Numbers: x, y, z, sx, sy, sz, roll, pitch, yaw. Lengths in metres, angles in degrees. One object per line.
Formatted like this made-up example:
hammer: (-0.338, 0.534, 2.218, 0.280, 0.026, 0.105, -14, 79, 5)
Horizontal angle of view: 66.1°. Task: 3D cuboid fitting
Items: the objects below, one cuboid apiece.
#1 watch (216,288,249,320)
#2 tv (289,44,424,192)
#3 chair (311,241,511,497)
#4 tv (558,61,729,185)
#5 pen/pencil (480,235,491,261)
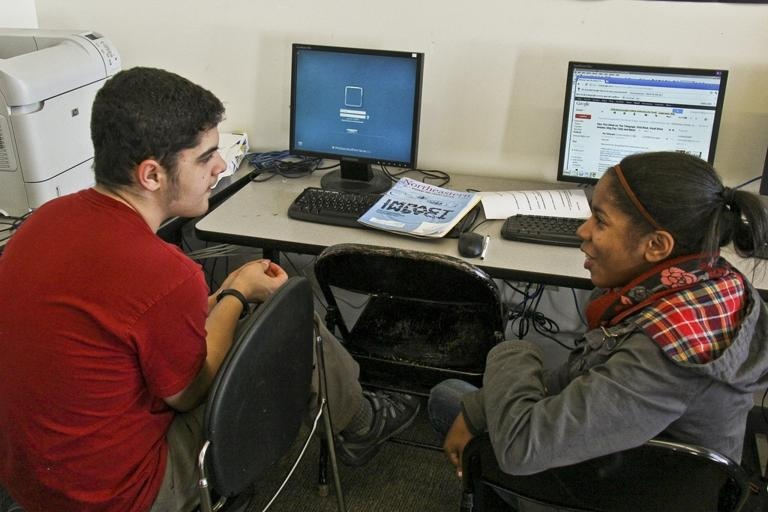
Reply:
watch: (-0.426, 0.146, 1.727, 0.094, 0.109, 0.041, 23, 59, 28)
tv: (-0.120, -0.606, 2.517, 0.543, 0.523, 0.307, 7, 29, 10)
chair: (0.094, 0.276, 1.920, 0.522, 0.867, 0.662, 10, 57, 12)
tv: (0.971, -0.517, 2.193, 0.553, 0.441, 0.058, 9, 18, 10)
pen/pencil: (0.373, -0.032, 2.151, 0.024, 0.024, 0.160, 8, 30, 13)
